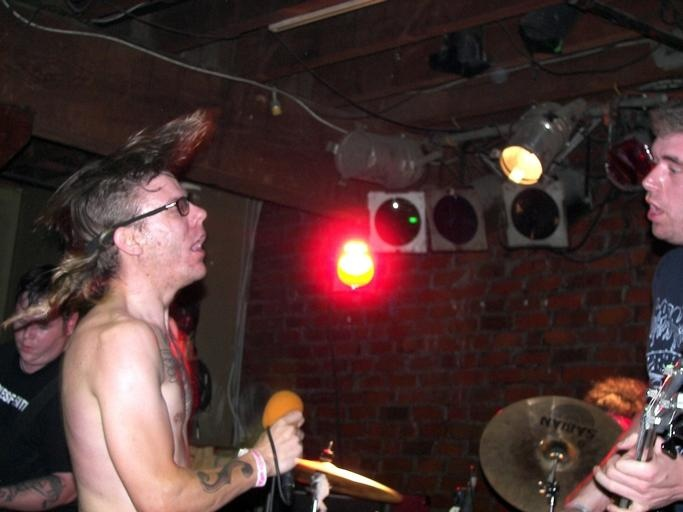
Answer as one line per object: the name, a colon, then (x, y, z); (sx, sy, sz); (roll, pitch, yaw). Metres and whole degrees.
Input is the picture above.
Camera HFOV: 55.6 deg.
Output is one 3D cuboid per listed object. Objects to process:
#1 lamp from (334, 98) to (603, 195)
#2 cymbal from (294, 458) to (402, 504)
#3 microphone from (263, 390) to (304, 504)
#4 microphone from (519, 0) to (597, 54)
lamp: (0.841, -0.701, 4.156); (1.743, 0.514, 0.505); (-5, -21, 37)
cymbal: (0.041, 1.095, 3.140); (0.436, 0.068, 0.426); (23, -28, -8)
microphone: (-0.229, 0.759, 2.723); (0.167, 0.531, 0.157); (4, -50, -6)
microphone: (1.168, -1.324, 3.684); (0.270, 0.148, 0.383); (6, -29, -8)
